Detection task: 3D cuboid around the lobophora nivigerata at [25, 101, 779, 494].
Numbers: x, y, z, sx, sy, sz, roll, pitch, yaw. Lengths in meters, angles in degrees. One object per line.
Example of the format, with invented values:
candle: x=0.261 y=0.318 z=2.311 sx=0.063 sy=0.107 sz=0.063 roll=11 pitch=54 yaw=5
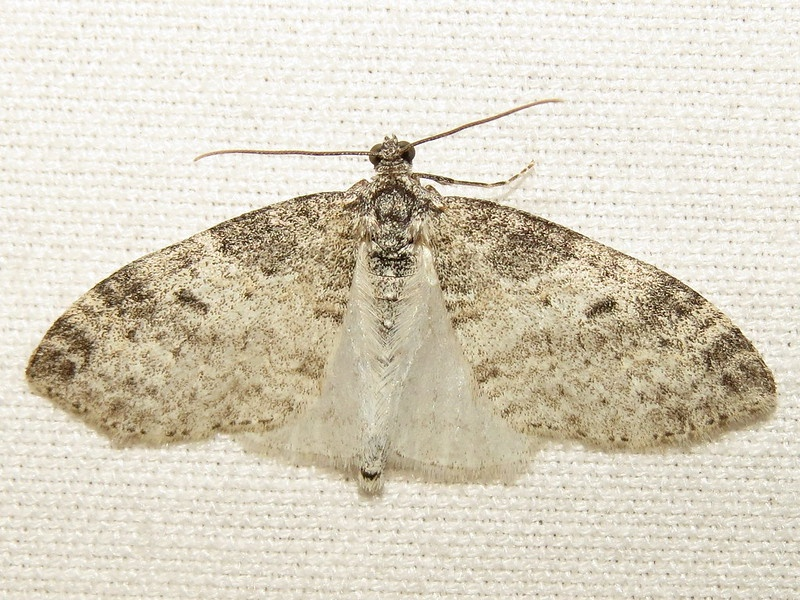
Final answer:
lobophora nivigerata: x=-0.018 y=0.122 z=4.328 sx=2.362 sy=0.214 sz=1.025 roll=-6 pitch=81 yaw=0
